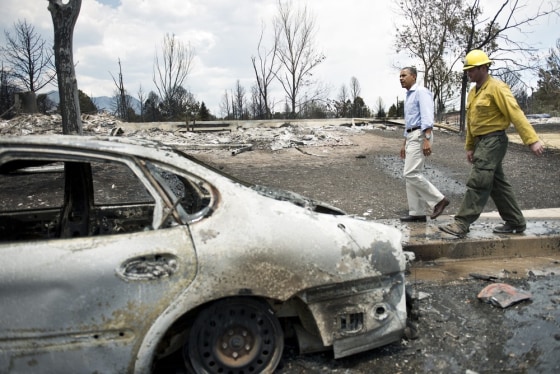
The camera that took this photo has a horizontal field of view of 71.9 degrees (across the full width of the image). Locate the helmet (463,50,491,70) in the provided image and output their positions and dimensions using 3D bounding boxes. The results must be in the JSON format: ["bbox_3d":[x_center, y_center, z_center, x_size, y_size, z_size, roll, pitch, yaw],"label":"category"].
[{"bbox_3d":[2.738,-1.803,5.406,0.326,0.283,0.289,5,11,24],"label":"helmet"}]

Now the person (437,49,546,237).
[{"bbox_3d":[2.985,-0.625,5.480,1.092,2.631,0.846,5,10,24],"label":"person"}]

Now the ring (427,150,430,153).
[{"bbox_3d":[2.205,-0.548,5.801,0.052,0.028,0.011,-34,6,-33],"label":"ring"}]

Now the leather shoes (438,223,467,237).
[{"bbox_3d":[2.492,0.598,5.576,0.293,0.144,0.177,19,7,17],"label":"leather shoes"}]

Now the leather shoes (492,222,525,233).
[{"bbox_3d":[3.336,0.599,5.708,0.409,0.223,0.185,2,10,21],"label":"leather shoes"}]

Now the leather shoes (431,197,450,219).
[{"bbox_3d":[2.548,0.325,6.216,0.145,0.319,0.107,20,31,-4],"label":"leather shoes"}]
